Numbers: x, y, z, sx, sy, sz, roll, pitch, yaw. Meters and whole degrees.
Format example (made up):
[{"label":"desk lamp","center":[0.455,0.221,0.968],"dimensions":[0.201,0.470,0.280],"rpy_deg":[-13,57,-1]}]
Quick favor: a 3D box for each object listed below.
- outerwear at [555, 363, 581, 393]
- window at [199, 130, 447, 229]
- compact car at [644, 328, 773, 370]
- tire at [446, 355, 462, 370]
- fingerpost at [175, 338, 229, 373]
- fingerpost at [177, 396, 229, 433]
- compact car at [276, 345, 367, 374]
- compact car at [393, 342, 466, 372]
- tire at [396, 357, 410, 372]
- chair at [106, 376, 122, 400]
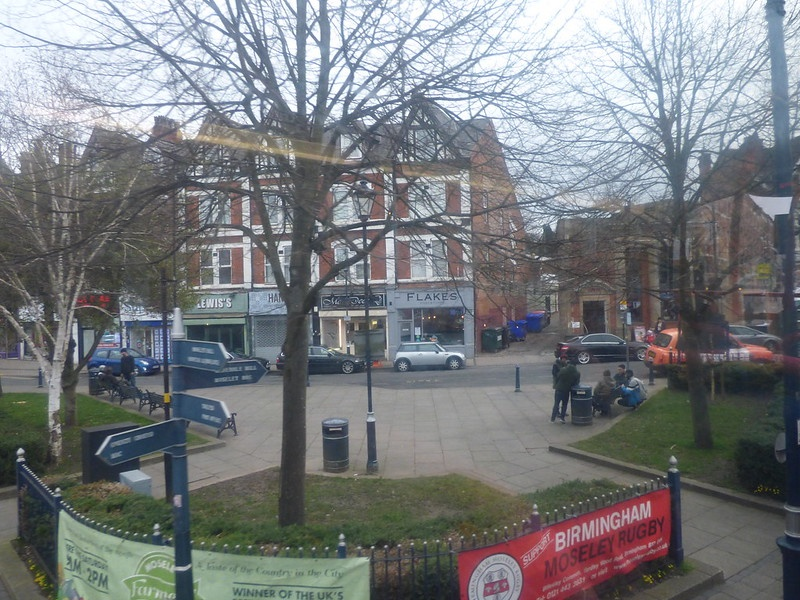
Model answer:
[{"label":"outerwear","center":[3.962,1.903,22.131],"dimensions":[0.594,0.664,0.376],"rpy_deg":[23,3,26]},{"label":"window","center":[-1.285,-2.193,16.783],"dimensions":[3.203,1.143,2.995],"rpy_deg":[-1,2,3]},{"label":"compact car","center":[9.202,1.533,27.135],"dimensions":[3.350,1.308,1.890],"rpy_deg":[-2,0,3]},{"label":"tire","center":[2.010,2.403,35.102],"dimensions":[0.616,0.540,0.195],"rpy_deg":[1,-2,1]},{"label":"fingerpost","center":[-2.793,0.778,12.792],"dimensions":[0.904,0.474,0.237],"rpy_deg":[-3,-3,20]},{"label":"fingerpost","center":[-2.693,1.549,12.890],"dimensions":[0.820,0.482,0.478],"rpy_deg":[-3,-3,19]},{"label":"compact car","center":[-3.039,2.423,35.523],"dimensions":[3.462,1.004,1.394],"rpy_deg":[-1,-1,1]},{"label":"compact car","center":[1.030,2.241,35.577],"dimensions":[2.155,0.792,1.233],"rpy_deg":[-1,-1,6]},{"label":"tire","center":[0.094,2.482,35.335],"dimensions":[0.628,0.553,0.191],"rpy_deg":[-2,3,4]},{"label":"chair","center":[-8.424,2.620,27.159],"dimensions":[0.274,0.312,0.778],"rpy_deg":[-4,8,-31]}]
